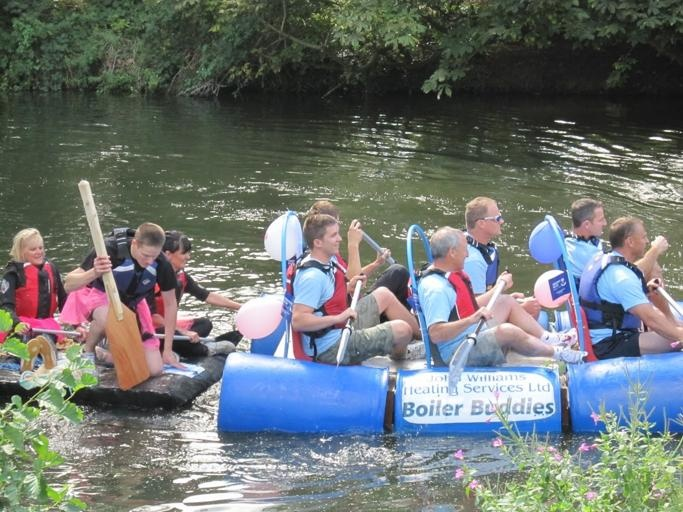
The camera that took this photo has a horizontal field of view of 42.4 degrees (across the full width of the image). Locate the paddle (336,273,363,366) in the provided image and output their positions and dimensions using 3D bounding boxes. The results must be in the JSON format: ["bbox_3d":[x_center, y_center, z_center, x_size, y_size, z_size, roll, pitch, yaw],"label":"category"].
[{"bbox_3d":[0.092,0.538,8.443,0.140,0.109,1.112,14,51,-2],"label":"paddle"}]

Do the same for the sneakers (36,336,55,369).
[{"bbox_3d":[-2.926,0.935,8.682,0.125,0.370,0.139,0,4,-8],"label":"sneakers"}]

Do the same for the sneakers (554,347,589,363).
[{"bbox_3d":[2.160,0.914,8.397,0.362,0.136,0.153,6,8,10],"label":"sneakers"}]

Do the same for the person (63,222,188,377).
[{"bbox_3d":[-2.202,0.369,8.917,1.078,1.696,0.988,4,20,-19],"label":"person"}]

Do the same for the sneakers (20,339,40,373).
[{"bbox_3d":[-2.929,0.924,8.255,0.130,0.423,0.158,9,6,-11],"label":"sneakers"}]

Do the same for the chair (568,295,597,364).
[{"bbox_3d":[2.211,0.723,8.489,0.190,0.406,0.589,26,25,-3],"label":"chair"}]

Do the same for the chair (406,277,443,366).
[{"bbox_3d":[0.784,0.637,8.382,0.191,0.764,0.426,-12,5,11],"label":"chair"}]

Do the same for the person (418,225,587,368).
[{"bbox_3d":[1.525,0.400,8.379,1.555,1.314,0.798,-1,15,8],"label":"person"}]

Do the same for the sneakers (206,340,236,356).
[{"bbox_3d":[-1.281,0.962,9.352,0.256,0.175,0.107,-2,-32,-12],"label":"sneakers"}]

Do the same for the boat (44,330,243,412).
[{"bbox_3d":[-1.858,1.302,9.373,1.020,0.261,1.780,1,5,15],"label":"boat"}]

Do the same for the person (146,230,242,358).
[{"bbox_3d":[-1.567,0.417,9.266,1.129,1.266,0.720,8,15,6],"label":"person"}]

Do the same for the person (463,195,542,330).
[{"bbox_3d":[1.717,0.015,9.349,1.003,1.316,0.881,-7,16,-7],"label":"person"}]

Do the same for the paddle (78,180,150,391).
[{"bbox_3d":[-2.192,0.263,8.541,0.545,2.037,0.392,-4,9,-15],"label":"paddle"}]

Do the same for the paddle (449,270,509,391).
[{"bbox_3d":[1.285,0.736,8.302,0.191,1.125,0.163,31,2,43],"label":"paddle"}]
